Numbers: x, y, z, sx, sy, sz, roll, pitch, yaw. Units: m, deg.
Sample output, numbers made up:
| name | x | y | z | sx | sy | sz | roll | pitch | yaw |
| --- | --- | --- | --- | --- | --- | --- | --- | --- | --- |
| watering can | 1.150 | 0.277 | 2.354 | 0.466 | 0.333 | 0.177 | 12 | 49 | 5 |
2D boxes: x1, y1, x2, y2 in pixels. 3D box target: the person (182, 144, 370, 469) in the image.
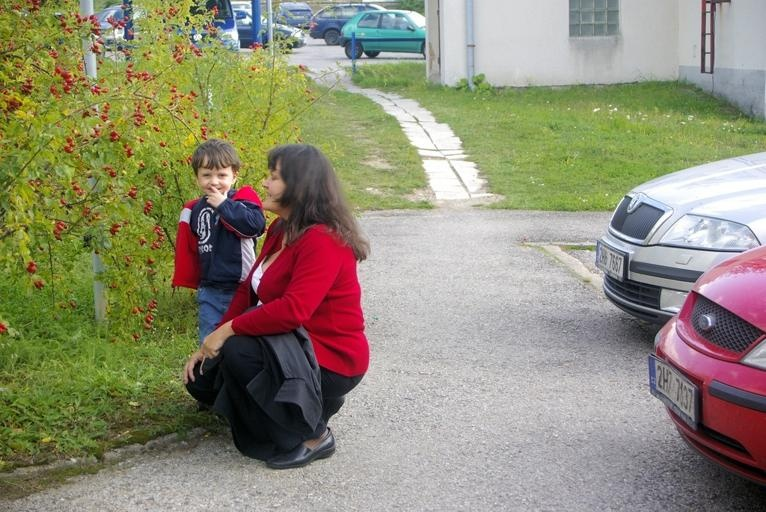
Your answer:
| name | x | y | z | sx | sy | sz | roll | pitch | yaw |
| --- | --- | --- | --- | --- | --- | --- | --- | --- | --- |
| person | -0.615 | 0.346 | 4.573 | 1.140 | 2.003 | 0.648 | -6 | 17 | -15 |

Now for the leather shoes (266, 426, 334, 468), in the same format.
| name | x | y | z | sx | sy | sz | roll | pitch | yaw |
| --- | --- | --- | --- | --- | --- | --- | --- | --- | --- |
| leather shoes | -0.507 | 1.256 | 4.762 | 0.515 | 0.182 | 0.172 | -8 | 7 | -38 |
